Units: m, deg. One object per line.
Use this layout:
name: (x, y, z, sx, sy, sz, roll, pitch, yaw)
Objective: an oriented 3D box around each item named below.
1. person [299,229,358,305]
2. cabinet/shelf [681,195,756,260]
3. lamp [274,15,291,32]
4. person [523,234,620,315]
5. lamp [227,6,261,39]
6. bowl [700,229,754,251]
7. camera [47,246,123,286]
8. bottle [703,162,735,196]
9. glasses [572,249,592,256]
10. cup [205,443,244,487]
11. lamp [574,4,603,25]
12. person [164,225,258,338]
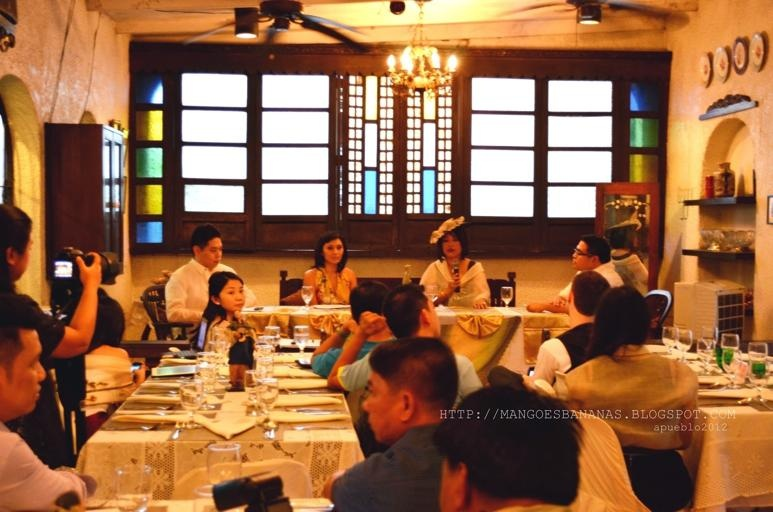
person: (-0.602, 0.105, 7.381, 0.753, 1.033, 0.549, 1, -10, -15)
cabinet/shelf: (3.728, -0.283, 7.838, 0.575, 0.744, 1.111, 1, -1, -9)
lamp: (-1.120, -2.515, 7.643, 0.122, 0.094, 0.130, 1, 2, 36)
person: (1.793, 0.241, 6.641, 0.950, 0.865, 0.617, -2, 1, -2)
lamp: (-1.576, -2.537, 7.711, 0.314, 0.345, 0.309, -8, 14, -38)
bowl: (3.687, -0.159, 7.686, 0.266, 0.225, 0.707, 0, 1, -13)
camera: (-1.852, 0.069, 4.379, 0.316, 0.193, 0.304, 1, 0, -4)
bottle: (3.689, -0.834, 7.836, 0.308, 0.396, 0.410, 1, 2, 26)
glasses: (1.793, -0.033, 6.529, 0.097, 0.057, 0.189, 0, 2, -30)
cup: (-0.710, 0.915, 3.127, 0.173, 0.179, 0.170, -2, -3, 0)
lamp: (2.289, -2.727, 8.006, 0.267, 0.197, 0.268, 2, 0, -2)
person: (-1.651, 0.253, 6.713, 0.859, 1.058, 0.722, -2, 12, -40)
